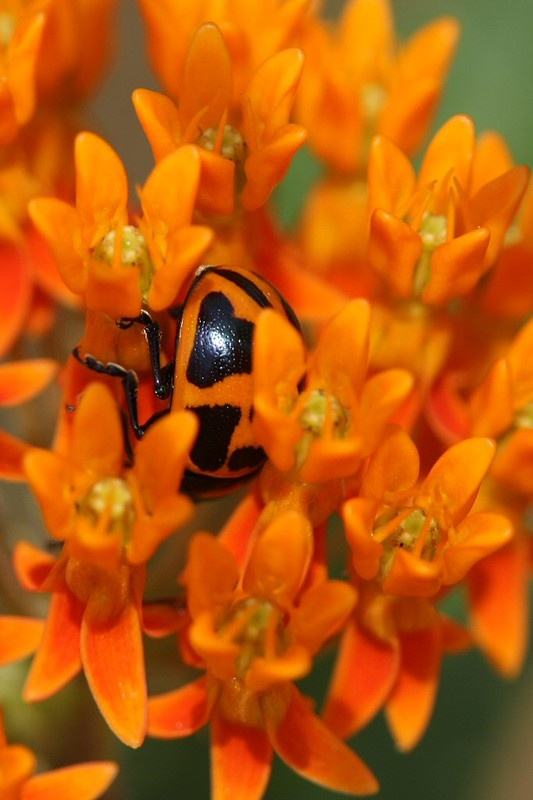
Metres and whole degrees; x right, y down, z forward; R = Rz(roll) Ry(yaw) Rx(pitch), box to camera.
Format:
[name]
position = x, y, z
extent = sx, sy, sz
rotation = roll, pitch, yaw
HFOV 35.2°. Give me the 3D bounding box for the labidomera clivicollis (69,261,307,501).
[labidomera clivicollis]
position = -0.049, -0.021, 0.475
extent = 0.038, 0.121, 0.120
rotation = 19, 105, 36
